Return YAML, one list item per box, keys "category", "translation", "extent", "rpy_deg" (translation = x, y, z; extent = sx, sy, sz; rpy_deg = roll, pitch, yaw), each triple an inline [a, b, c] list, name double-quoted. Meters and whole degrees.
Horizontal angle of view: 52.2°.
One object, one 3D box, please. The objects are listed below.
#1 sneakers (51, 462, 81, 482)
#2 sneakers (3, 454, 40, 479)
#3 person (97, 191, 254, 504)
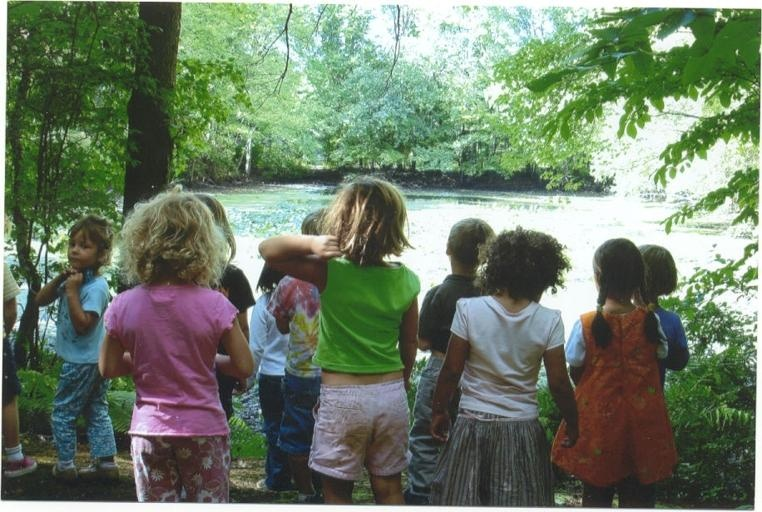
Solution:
- category: "sneakers"
  translation: [-2.602, 1.808, 6.425]
  extent: [0.135, 0.146, 0.217]
  rpy_deg: [6, 9, -12]
- category: "sneakers"
  translation: [-3.005, 1.782, 6.498]
  extent: [0.299, 0.167, 0.133]
  rpy_deg: [-2, 16, -25]
- category: "person"
  translation: [-1.384, 0.616, 5.336]
  extent: [0.989, 1.844, 0.340]
  rpy_deg: [3, 1, -15]
